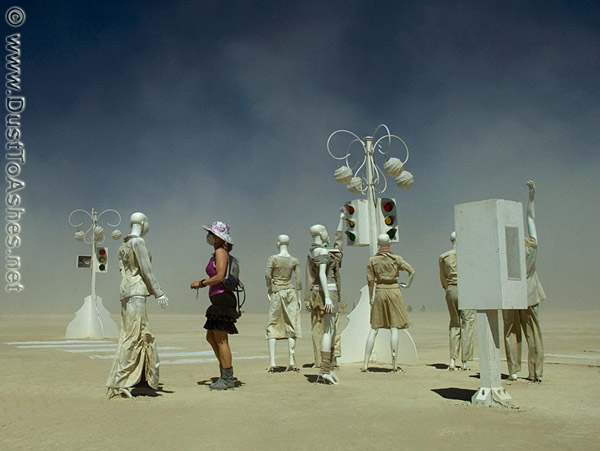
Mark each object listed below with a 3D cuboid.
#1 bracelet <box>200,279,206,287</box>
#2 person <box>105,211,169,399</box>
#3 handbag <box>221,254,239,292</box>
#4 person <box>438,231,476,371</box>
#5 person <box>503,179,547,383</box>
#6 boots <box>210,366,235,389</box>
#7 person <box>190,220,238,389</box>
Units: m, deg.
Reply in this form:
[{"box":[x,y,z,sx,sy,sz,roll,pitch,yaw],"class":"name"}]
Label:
[{"box":[-1.646,0.991,10.098,0.063,0.109,0.151,-1,-6,10],"class":"bracelet"},{"box":[-2.684,1.287,9.799,0.825,2.992,0.633,2,-6,-17],"class":"person"},{"box":[-1.211,0.814,10.587,0.304,0.593,0.399,2,5,4],"class":"handbag"},{"box":[3.396,1.693,12.946,0.712,2.808,0.556,-2,-6,24],"class":"person"},{"box":[4.054,1.073,10.837,0.707,3.530,0.796,5,-7,-42],"class":"person"},{"box":[-1.309,2.717,10.598,0.508,0.407,0.277,0,-7,19],"class":"boots"},{"box":[-1.365,1.410,10.432,0.589,2.910,0.547,1,-5,-9],"class":"person"}]
